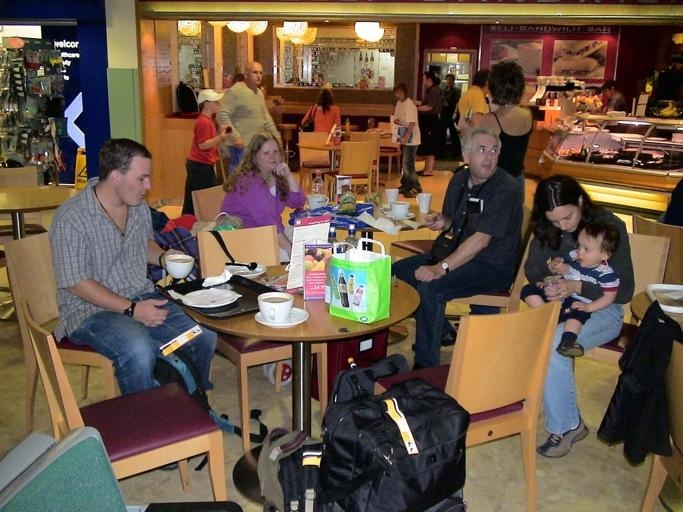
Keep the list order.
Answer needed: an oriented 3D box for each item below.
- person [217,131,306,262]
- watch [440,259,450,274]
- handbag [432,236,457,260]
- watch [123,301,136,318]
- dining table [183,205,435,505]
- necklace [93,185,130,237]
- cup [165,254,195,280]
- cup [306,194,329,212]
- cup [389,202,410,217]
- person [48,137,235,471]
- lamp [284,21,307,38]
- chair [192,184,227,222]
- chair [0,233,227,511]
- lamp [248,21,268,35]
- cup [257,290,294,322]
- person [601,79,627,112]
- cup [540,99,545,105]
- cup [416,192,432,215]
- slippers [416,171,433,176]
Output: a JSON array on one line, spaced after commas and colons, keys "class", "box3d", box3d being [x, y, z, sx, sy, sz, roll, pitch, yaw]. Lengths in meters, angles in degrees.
[{"class": "person", "box3d": [-0.520, -0.418, 3.685, 0.698, 0.892, 0.519, 11, 21, 28]}, {"class": "watch", "box3d": [0.651, 0.062, 3.249, 0.053, 0.075, 0.027, -9, -3, -11]}, {"class": "handbag", "box3d": [0.682, -0.059, 3.448, 0.121, 0.166, 0.063, 11, -13, 43]}, {"class": "watch", "box3d": [-0.992, 0.245, 2.433, 0.044, 0.058, 0.065, 15, -26, -1]}, {"class": "dining table", "box3d": [-0.121, 0.468, 2.547, 1.023, 0.777, 0.993, 17, 32, 25]}, {"class": "necklace", "box3d": [-1.152, -0.240, 2.636, 0.040, 0.226, 0.148, 17, 27, 40]}, {"class": "cup", "box3d": [-0.767, 0.044, 2.436, 0.120, 0.086, 0.122, 1, 2, 0]}, {"class": "cup", "box3d": [-0.190, -0.405, 3.827, 0.136, 0.111, 0.165, 0, -3, 9]}, {"class": "cup", "box3d": [0.413, -0.331, 3.702, 0.112, 0.084, 0.110, -1, 16, 0]}, {"class": "person", "box3d": [-1.044, 0.186, 2.655, 0.860, 1.436, 0.613, 14, 16, 24]}, {"class": "lamp", "box3d": [-0.993, -4.760, 10.859, 0.530, 0.266, 0.280, 5, 16, 13]}, {"class": "chair", "box3d": [-0.995, -0.392, 3.884, 0.282, 0.343, 0.283, -3, 7, -23]}, {"class": "chair", "box3d": [-0.934, 0.441, 2.197, 0.794, 1.329, 0.684, -10, 28, -26]}, {"class": "lamp", "box3d": [-1.577, -4.354, 9.783, 0.312, 0.207, 0.646, -3, 16, -13]}, {"class": "cup", "box3d": [-0.259, 0.205, 2.125, 0.104, 0.082, 0.125, 2, 18, 6]}, {"class": "person", "box3d": [5.027, -2.984, 9.599, 0.395, 0.564, 1.279, 8, 17, 24]}, {"class": "cup", "box3d": [3.609, -2.763, 9.290, 0.084, 0.108, 0.230, 5, 16, 15]}, {"class": "cup", "box3d": [0.612, -0.395, 3.906, 0.111, 0.160, 0.168, -1, 5, -2]}, {"class": "slippers", "box3d": [1.634, -1.608, 10.085, 0.220, 0.053, 0.158, 3, 7, -22]}]
